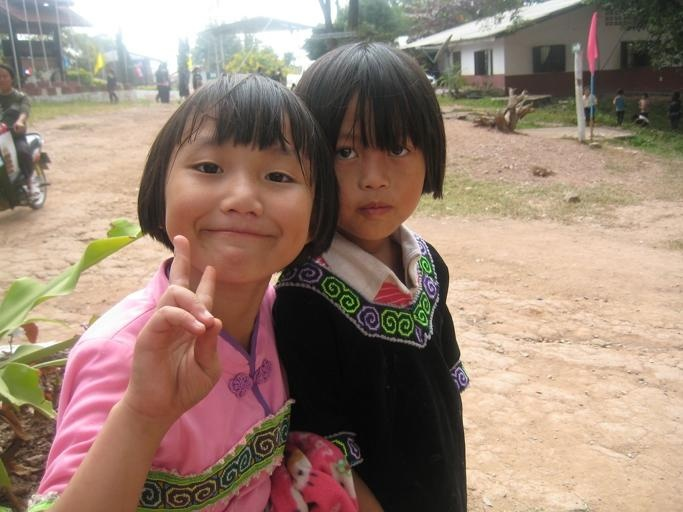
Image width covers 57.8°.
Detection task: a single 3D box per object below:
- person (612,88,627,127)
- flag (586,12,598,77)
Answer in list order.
[{"bbox_3d":[7.141,-3.867,15.859,0.257,0.842,1.740,7,18,22],"label":"person"},{"bbox_3d":[4.761,-4.016,11.704,0.206,1.140,0.171,13,24,37],"label":"flag"}]
